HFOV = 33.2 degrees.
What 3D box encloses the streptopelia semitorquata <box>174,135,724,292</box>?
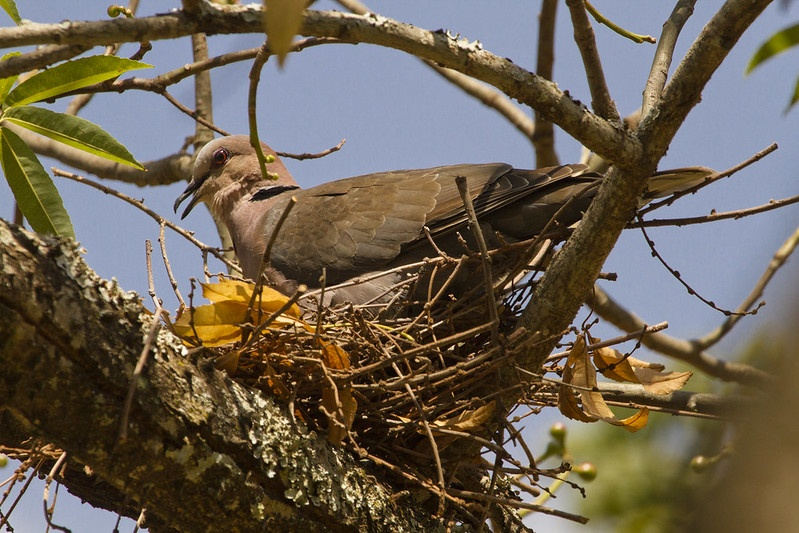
[{"bbox_3d":[0.171,-0.179,5.707,0.870,0.677,1.864,-3,2,-14],"label":"streptopelia semitorquata"}]
